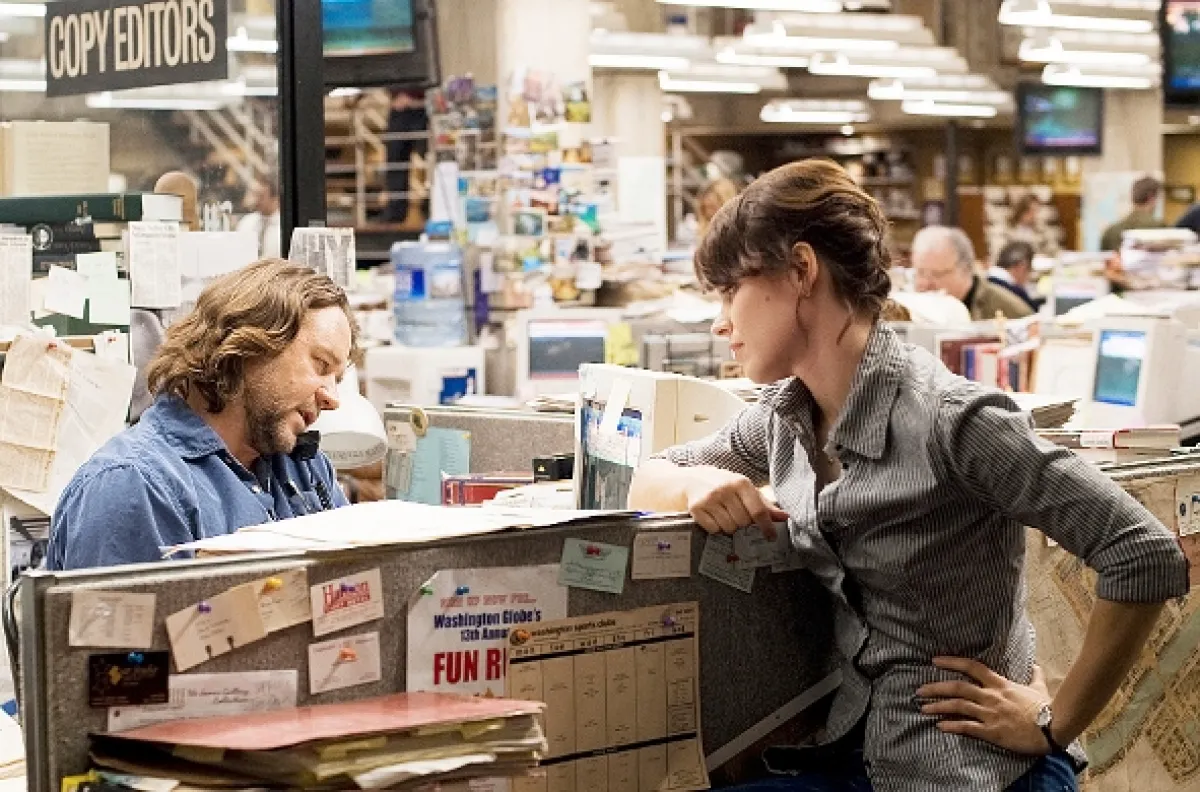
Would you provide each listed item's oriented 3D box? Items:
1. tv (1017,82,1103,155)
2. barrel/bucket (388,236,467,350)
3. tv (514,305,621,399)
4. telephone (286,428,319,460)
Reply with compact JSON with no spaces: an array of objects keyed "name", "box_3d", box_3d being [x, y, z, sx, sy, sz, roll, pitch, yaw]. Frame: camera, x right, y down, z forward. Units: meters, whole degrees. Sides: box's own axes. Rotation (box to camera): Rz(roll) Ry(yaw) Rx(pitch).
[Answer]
[{"name":"tv","box_3d":[4.229,-2.599,11.171,0.087,0.675,0.920,-15,21,-30]},{"name":"barrel/bucket","box_3d":[-0.951,-0.572,6.592,0.455,0.641,0.432,1,11,0]},{"name":"tv","box_3d":[-0.149,-0.264,6.072,0.523,0.466,0.293,2,25,1]},{"name":"telephone","box_3d":[-0.751,0.121,3.071,0.066,0.055,0.074,-1,-13,-7]}]
